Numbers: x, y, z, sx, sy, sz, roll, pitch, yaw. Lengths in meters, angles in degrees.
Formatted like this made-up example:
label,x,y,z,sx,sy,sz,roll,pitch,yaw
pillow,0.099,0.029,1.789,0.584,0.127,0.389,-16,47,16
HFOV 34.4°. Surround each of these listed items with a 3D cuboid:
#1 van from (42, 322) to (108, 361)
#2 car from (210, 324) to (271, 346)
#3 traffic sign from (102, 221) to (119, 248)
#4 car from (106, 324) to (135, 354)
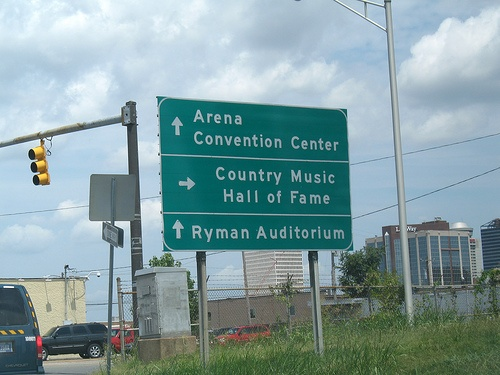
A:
label,x,y,z,sx,sy,sz,roll,pitch,yaw
van,-8.451,7.409,39.634,3.956,1.956,1.975,5,-12,-20
car,-0.021,5.131,27.981,1.658,0.742,0.836,8,-14,-31
traffic sign,-3.769,1.262,21.866,0.443,0.714,0.270,-6,-5,-12
car,-6.457,7.043,38.234,1.068,1.205,2.088,20,-4,25
